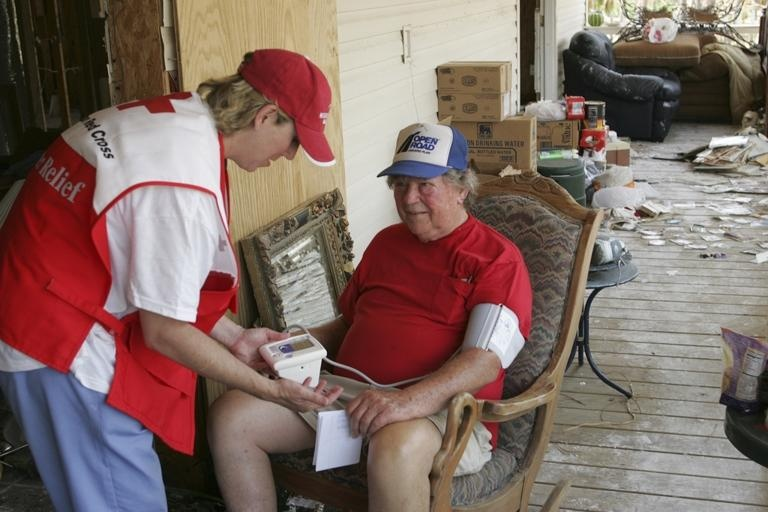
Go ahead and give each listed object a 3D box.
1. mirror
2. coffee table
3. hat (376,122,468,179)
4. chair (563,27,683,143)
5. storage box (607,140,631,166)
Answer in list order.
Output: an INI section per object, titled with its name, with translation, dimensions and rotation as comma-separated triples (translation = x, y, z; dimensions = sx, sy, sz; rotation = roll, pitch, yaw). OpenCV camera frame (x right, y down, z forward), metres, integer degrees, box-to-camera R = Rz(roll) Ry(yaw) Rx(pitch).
[mirror]
translation = -0.444, 0.134, 3.062
dimensions = 0.084, 0.847, 0.826
rotation = -7, -8, -42
[coffee table]
translation = 1.282, 0.470, 3.459
dimensions = 0.613, 0.713, 0.642
rotation = 5, 6, 10
[hat]
translation = 0.186, -0.464, 2.331
dimensions = 0.467, 0.233, 0.335
rotation = -11, 19, -43
[chair]
translation = 3.889, -2.812, 8.763
dimensions = 1.764, 1.743, 1.042
rotation = 7, 21, 27
[storage box]
translation = 3.043, -1.347, 6.920
dimensions = 0.305, 0.320, 0.322
rotation = 0, 15, 7
